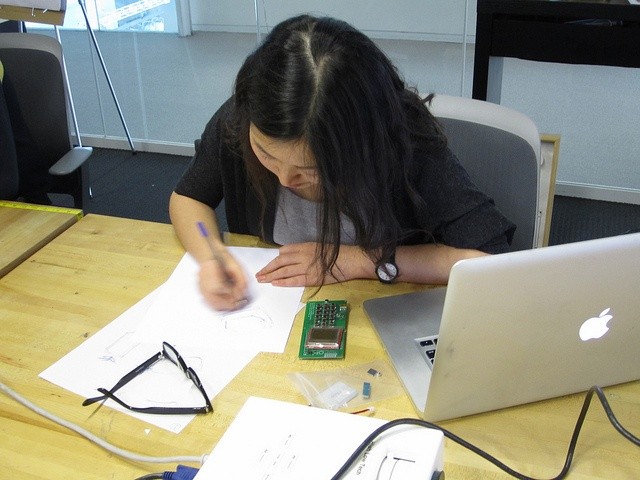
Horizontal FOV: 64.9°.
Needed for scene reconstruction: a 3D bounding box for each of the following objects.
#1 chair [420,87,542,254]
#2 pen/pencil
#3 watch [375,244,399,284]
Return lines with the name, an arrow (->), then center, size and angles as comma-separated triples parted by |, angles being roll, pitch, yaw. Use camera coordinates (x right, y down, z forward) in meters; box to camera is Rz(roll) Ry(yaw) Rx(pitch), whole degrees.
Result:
chair -> 0.448, -0.231, 1.438 | 0.324, 0.463, 0.406 | 4, 38, 21
pen/pencil -> -0.249, 0.064, 1.283 | 0.028, 0.028, 0.245 | -30, 54, 0
watch -> 0.167, 0.059, 1.235 | 0.056, 0.090, 0.082 | 9, 23, 4
